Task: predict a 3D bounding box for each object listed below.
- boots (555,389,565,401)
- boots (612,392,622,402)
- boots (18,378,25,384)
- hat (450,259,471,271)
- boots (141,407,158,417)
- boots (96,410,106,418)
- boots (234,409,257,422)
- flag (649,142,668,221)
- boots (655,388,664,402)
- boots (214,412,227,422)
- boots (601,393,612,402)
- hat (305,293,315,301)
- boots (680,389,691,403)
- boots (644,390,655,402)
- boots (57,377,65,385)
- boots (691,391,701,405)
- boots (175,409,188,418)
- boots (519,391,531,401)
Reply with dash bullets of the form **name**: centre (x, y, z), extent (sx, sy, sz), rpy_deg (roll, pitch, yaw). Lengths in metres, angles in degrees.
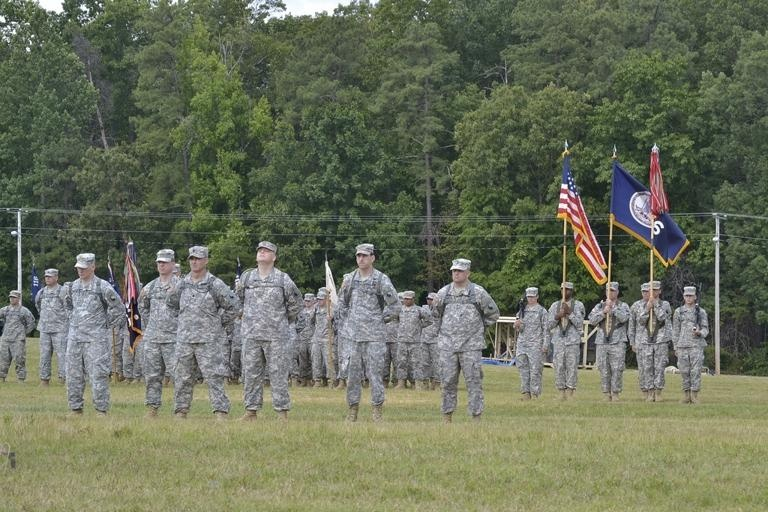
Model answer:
- **boots**: centre (9.276, 7.208, 106.136), extent (0.518, 0.581, 0.930), rpy_deg (-2, -7, 9)
- **boots**: centre (12.025, 7.322, 105.765), extent (0.420, 0.464, 1.110), rpy_deg (-2, -7, 11)
- **boots**: centre (-19.699, 6.651, 109.187), extent (0.261, 0.205, 0.291), rpy_deg (4, 0, 26)
- **hat**: centre (3.780, 0.348, 102.017), extent (0.832, 0.382, 1.163), rpy_deg (1, 0, 12)
- **boots**: centre (-11.613, 7.678, 99.963), extent (0.592, 0.501, 1.385), rpy_deg (0, -7, -7)
- **boots**: centre (-13.997, 7.674, 99.411), extent (0.463, 0.313, 0.546), rpy_deg (1, -7, -16)
- **boots**: centre (-6.822, 7.797, 99.271), extent (0.836, 0.772, 0.408), rpy_deg (10, -12, 6)
- **flag**: centre (14.444, -4.128, 107.256), extent (0.841, 3.883, 1.112), rpy_deg (-2, -7, 9)
- **boots**: centre (14.245, 7.197, 105.808), extent (0.407, 0.718, 1.067), rpy_deg (-2, -7, 8)
- **boots**: centre (-8.075, 7.839, 99.095), extent (0.447, 0.482, 0.491), rpy_deg (1, -7, -4)
- **boots**: centre (11.607, 7.328, 106.007), extent (0.431, 0.503, 1.434), rpy_deg (-2, -7, 5)
- **hat**: centre (-4.224, 2.165, 111.333), extent (0.392, 0.261, 0.520), rpy_deg (1, 0, 9)
- **boots**: centre (15.708, 7.278, 105.387), extent (0.472, 0.741, 1.357), rpy_deg (-2, -7, 8)
- **boots**: centre (13.782, 7.242, 105.759), extent (0.521, 0.617, 0.872), rpy_deg (2, -7, -25)
- **boots**: centre (-17.564, 6.667, 109.096), extent (0.454, 0.468, 0.439), rpy_deg (-8, -12, 42)
- **boots**: centre (16.123, 7.303, 105.392), extent (0.343, 0.690, 1.269), rpy_deg (-2, -7, 11)
- **boots**: centre (-10.026, 7.678, 99.183), extent (0.606, 0.487, 0.505), rpy_deg (2, -7, -26)
- **boots**: centre (7.332, 7.270, 105.666), extent (0.592, 0.472, 0.988), rpy_deg (-1, -7, 3)
